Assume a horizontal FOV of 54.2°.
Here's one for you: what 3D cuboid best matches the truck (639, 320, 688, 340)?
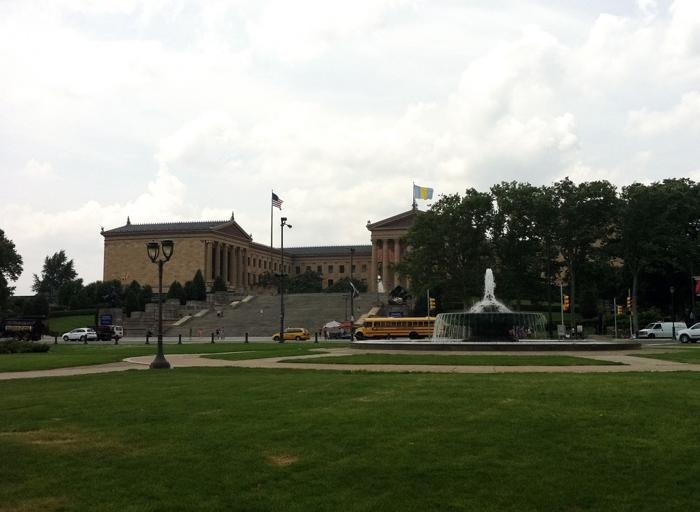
[{"bbox_3d":[30.269,7.252,65.843,3.713,1.701,2.049,0,-4,13],"label":"truck"}]

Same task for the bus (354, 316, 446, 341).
[{"bbox_3d":[4.444,6.807,64.129,9.269,2.491,2.717,0,-7,9],"label":"bus"}]

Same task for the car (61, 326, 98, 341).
[{"bbox_3d":[-27.337,8.102,69.423,2.864,1.277,4.811,-1,-2,-12],"label":"car"}]
